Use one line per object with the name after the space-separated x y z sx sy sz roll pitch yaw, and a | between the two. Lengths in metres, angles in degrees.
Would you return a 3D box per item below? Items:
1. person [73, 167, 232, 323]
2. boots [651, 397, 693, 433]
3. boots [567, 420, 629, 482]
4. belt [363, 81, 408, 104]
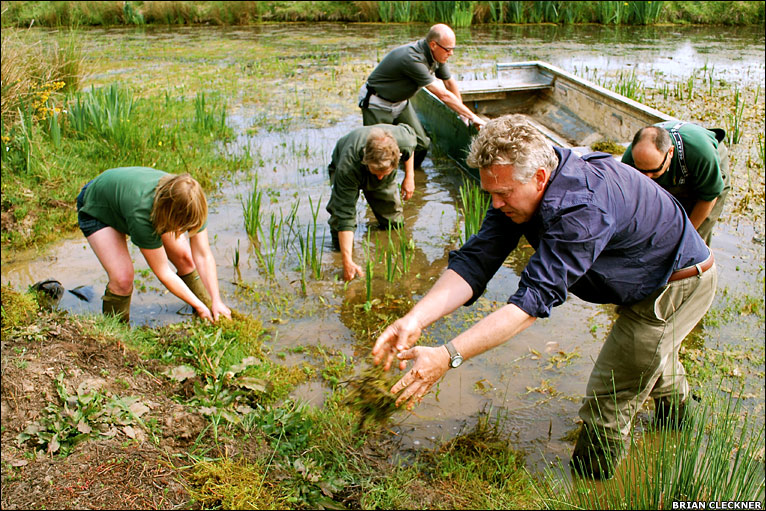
-2.397 -0.076 7.413 1.469 1.696 0.751 5 19 25 | person
2.643 1.443 6.412 0.277 0.333 0.226 -1 38 3 | boots
1.924 1.748 6.255 0.388 0.533 0.310 21 -1 14 | boots
0.006 -2.333 10.107 0.456 0.328 0.358 14 36 5 | belt
